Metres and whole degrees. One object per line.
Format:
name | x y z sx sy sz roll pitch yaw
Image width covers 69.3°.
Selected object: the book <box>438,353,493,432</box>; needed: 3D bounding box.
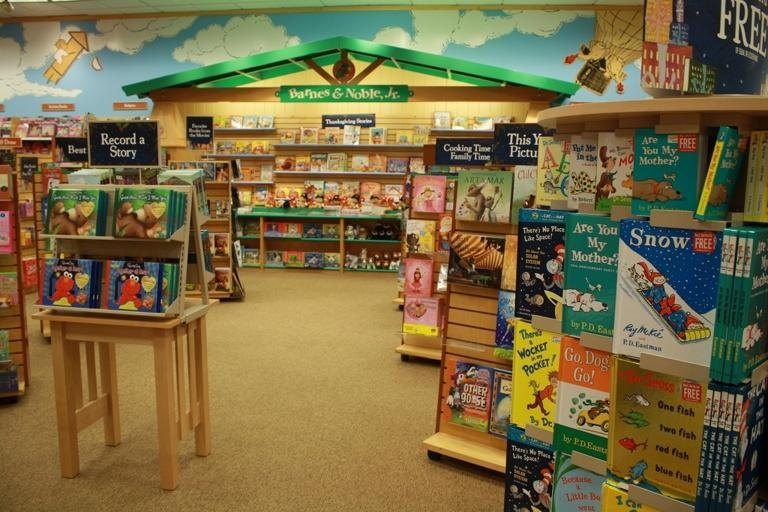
book | 0.612 1.009 4.110 0.579 0.594 0.071 5 2 34
